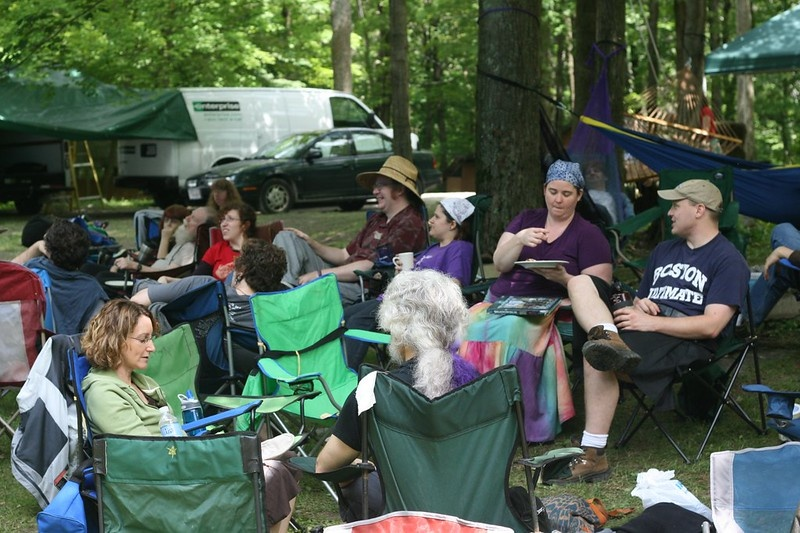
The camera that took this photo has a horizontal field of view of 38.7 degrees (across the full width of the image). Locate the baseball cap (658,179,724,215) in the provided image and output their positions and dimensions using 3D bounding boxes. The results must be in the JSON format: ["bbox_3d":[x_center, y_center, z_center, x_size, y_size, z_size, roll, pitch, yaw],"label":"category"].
[{"bbox_3d":[2.218,-0.528,8.556,0.354,0.174,0.249,9,3,9],"label":"baseball cap"}]

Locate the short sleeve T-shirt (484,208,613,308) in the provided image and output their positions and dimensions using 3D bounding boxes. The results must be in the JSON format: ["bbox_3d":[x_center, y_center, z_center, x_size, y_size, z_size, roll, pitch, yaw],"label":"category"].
[{"bbox_3d":[1.199,-0.040,8.909,0.589,0.600,0.339,25,5,41],"label":"short sleeve T-shirt"}]

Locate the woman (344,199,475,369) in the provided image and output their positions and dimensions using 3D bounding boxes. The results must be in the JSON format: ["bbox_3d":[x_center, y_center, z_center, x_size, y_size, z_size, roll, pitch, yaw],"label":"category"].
[{"bbox_3d":[0.004,0.123,10.000,1.243,1.884,1.140,2,0,-24],"label":"woman"}]

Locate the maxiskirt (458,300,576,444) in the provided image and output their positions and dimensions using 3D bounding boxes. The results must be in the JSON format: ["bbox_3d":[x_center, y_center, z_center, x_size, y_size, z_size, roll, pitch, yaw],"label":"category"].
[{"bbox_3d":[0.964,0.743,8.810,0.847,1.081,1.033,0,2,-29],"label":"maxiskirt"}]

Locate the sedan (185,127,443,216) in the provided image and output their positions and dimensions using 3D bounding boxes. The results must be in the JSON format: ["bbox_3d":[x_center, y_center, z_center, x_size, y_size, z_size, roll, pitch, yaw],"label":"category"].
[{"bbox_3d":[-1.351,-1.320,16.773,3.290,1.238,1.477,-3,3,-38],"label":"sedan"}]

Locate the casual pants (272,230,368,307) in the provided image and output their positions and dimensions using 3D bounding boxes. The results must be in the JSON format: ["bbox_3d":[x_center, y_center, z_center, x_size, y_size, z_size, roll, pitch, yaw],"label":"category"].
[{"bbox_3d":[-0.636,-0.005,10.212,0.855,0.571,1.538,-18,1,-8],"label":"casual pants"}]

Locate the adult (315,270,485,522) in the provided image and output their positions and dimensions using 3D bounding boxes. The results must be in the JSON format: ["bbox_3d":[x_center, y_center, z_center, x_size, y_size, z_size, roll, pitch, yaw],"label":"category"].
[{"bbox_3d":[0.053,1.011,7.400,1.120,2.033,1.147,-2,-9,8],"label":"adult"}]

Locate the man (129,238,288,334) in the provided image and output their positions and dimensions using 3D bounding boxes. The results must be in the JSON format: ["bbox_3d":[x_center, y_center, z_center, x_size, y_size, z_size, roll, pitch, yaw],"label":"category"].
[{"bbox_3d":[-1.530,0.230,9.226,1.218,0.851,0.956,0,3,29],"label":"man"}]

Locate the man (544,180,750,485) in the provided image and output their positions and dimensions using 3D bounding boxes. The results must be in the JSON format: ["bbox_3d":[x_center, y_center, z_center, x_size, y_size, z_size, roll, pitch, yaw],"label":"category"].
[{"bbox_3d":[1.799,0.467,8.507,1.550,2.278,1.268,-2,4,-26],"label":"man"}]

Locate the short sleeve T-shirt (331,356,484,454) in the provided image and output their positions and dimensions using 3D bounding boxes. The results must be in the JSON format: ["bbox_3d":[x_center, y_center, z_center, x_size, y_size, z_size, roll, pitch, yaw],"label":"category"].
[{"bbox_3d":[0.020,0.813,7.197,0.664,0.965,0.634,-3,10,-30],"label":"short sleeve T-shirt"}]

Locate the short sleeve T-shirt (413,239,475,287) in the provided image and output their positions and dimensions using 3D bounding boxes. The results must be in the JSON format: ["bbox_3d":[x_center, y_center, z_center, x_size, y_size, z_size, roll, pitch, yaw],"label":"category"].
[{"bbox_3d":[0.382,-0.013,9.505,0.325,0.484,0.575,14,-6,-24],"label":"short sleeve T-shirt"}]

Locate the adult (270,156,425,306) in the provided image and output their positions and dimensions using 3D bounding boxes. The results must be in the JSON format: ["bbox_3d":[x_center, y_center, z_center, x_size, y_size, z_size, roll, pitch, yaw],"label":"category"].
[{"bbox_3d":[-0.485,0.047,10.179,1.420,2.040,0.922,0,8,-12],"label":"adult"}]

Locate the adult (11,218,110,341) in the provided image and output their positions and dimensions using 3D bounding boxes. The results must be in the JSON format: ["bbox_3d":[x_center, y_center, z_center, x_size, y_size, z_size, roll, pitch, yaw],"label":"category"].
[{"bbox_3d":[-2.697,0.144,9.056,0.638,1.391,0.483,-10,42,-32],"label":"adult"}]

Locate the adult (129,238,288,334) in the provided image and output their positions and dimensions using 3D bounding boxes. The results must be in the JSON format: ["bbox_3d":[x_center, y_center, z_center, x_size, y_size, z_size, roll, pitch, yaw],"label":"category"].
[{"bbox_3d":[-1.476,0.133,8.990,0.717,0.526,0.967,3,-10,-43],"label":"adult"}]

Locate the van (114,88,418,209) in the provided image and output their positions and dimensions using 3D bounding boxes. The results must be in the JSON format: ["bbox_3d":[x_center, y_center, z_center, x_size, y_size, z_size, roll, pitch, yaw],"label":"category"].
[{"bbox_3d":[-2.394,-2.080,17.353,3.488,1.432,1.905,-7,8,-30],"label":"van"}]

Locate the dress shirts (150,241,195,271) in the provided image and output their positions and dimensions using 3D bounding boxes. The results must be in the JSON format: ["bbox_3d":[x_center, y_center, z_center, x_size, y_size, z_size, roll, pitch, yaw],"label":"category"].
[{"bbox_3d":[-2.176,-0.139,10.960,0.345,0.147,0.291,-23,11,-4],"label":"dress shirts"}]

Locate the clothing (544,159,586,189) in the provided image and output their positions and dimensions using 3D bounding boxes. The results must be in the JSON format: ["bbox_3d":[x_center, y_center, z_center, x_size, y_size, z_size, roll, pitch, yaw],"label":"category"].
[{"bbox_3d":[1.342,-0.734,8.920,0.190,0.144,0.260,6,-4,26],"label":"clothing"}]

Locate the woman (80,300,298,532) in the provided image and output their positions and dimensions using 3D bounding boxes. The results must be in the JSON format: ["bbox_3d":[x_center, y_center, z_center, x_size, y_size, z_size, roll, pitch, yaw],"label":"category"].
[{"bbox_3d":[-1.211,1.002,8.142,1.472,1.843,1.226,-4,-5,14],"label":"woman"}]

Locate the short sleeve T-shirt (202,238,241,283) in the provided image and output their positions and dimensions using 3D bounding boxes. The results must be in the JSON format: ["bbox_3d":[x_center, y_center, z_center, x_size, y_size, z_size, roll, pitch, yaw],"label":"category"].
[{"bbox_3d":[-1.535,-0.026,9.894,0.310,0.287,0.150,9,6,25],"label":"short sleeve T-shirt"}]

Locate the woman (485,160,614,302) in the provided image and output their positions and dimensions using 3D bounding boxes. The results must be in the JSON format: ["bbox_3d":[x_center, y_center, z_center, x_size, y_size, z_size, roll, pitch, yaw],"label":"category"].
[{"bbox_3d":[1.192,-0.135,8.953,0.871,1.366,0.971,5,4,9],"label":"woman"}]

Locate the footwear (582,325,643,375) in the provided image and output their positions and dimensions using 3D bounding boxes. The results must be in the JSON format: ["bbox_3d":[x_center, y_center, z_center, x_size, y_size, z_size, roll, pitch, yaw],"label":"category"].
[{"bbox_3d":[1.483,0.570,8.078,0.345,0.184,0.347,11,40,-35],"label":"footwear"}]

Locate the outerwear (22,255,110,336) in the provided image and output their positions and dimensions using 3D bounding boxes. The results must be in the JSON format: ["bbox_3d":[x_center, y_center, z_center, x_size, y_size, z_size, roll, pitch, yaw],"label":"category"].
[{"bbox_3d":[-2.705,0.428,9.033,0.673,0.718,0.387,9,-33,-31],"label":"outerwear"}]

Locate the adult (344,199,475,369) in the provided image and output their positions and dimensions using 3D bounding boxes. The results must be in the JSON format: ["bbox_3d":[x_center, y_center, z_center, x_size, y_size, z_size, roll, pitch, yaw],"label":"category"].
[{"bbox_3d":[-0.011,0.104,10.037,1.243,1.884,1.140,2,0,-24],"label":"adult"}]

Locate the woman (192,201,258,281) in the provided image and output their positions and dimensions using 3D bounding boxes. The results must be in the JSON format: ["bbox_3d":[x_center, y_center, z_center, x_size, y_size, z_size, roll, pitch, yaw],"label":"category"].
[{"bbox_3d":[-1.517,-0.190,9.852,0.517,0.984,0.667,-2,-13,-2],"label":"woman"}]

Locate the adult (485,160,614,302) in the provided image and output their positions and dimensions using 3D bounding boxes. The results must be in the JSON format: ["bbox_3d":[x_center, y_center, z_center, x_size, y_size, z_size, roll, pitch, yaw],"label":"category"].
[{"bbox_3d":[1.181,-0.123,8.939,0.877,1.331,0.936,7,4,25],"label":"adult"}]

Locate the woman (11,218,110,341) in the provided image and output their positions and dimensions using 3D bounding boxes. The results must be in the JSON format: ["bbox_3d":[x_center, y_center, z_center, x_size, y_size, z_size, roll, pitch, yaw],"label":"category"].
[{"bbox_3d":[-2.697,0.144,9.056,0.638,1.391,0.483,-10,42,-32],"label":"woman"}]

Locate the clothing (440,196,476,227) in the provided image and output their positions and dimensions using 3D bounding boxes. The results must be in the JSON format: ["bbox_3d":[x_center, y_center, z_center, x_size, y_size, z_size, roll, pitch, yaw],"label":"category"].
[{"bbox_3d":[0.493,-0.456,9.432,0.225,0.240,0.065,-9,-5,-36],"label":"clothing"}]
